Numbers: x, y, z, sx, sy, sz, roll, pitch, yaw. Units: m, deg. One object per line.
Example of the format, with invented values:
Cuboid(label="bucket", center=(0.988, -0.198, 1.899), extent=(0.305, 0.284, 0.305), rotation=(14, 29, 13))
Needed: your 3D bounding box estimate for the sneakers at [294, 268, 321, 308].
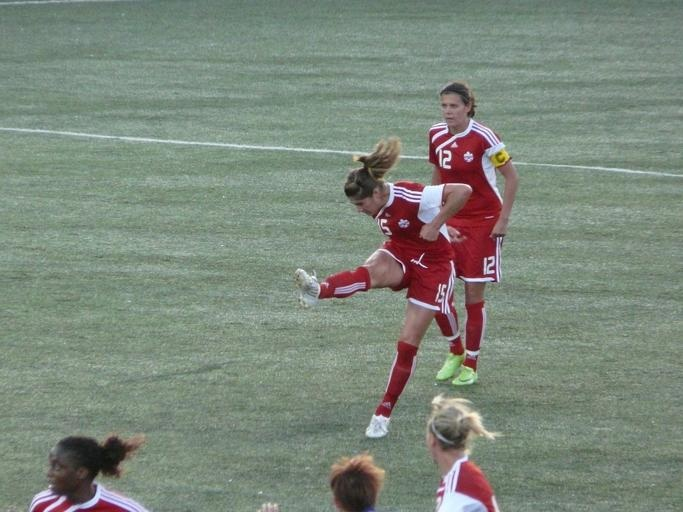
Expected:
Cuboid(label="sneakers", center=(-0.417, 0.348, 20.119), extent=(0.211, 0.458, 0.251), rotation=(-1, 16, 22))

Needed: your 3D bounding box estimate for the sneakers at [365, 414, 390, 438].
Cuboid(label="sneakers", center=(0.376, 1.892, 20.260), extent=(0.230, 0.268, 0.149), rotation=(12, -5, 2))
